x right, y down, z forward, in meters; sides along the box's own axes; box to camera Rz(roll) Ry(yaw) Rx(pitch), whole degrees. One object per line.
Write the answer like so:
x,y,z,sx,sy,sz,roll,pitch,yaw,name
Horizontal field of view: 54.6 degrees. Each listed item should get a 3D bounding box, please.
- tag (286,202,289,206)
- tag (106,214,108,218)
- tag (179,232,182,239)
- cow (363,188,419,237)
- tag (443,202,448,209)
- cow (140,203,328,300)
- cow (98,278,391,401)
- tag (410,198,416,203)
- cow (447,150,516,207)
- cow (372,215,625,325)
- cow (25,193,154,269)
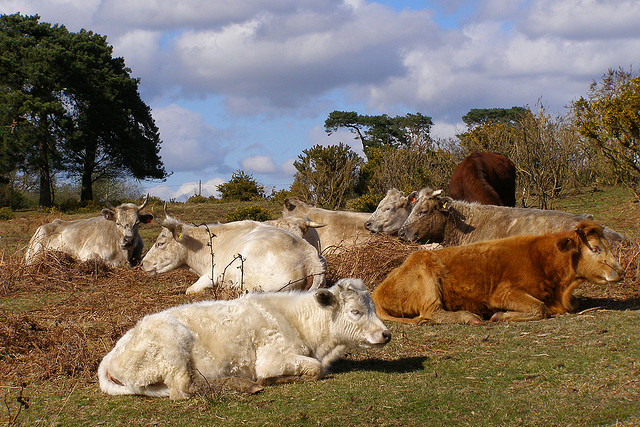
-0.848,-0.257,16.647,0.062,0.066,0.062,-21,23,-35,tag
-5.598,0.069,16.379,0.032,0.094,0.051,-8,13,-32,tag
-2.764,0.445,12.396,0.038,0.114,0.081,-5,-5,-4,tag
1.659,0.039,14.564,0.656,0.916,1.675,26,46,35,cow
2.710,-0.170,13.396,0.064,0.118,0.025,8,-32,19,tag
-1.604,0.798,11.573,2.950,1.472,1.686,4,1,35,cow
-1.016,1.761,8.818,3.964,1.652,1.660,-9,5,-9,cow
2.192,-0.305,14.614,0.103,0.110,0.034,-14,34,12,tag
4.456,-1.038,17.938,3.215,1.696,1.014,-6,28,-46,cow
3.080,1.306,11.013,4.504,1.882,1.744,-7,5,8,cow
-6.214,0.715,17.121,3.853,1.941,1.656,-2,-2,31,cow
